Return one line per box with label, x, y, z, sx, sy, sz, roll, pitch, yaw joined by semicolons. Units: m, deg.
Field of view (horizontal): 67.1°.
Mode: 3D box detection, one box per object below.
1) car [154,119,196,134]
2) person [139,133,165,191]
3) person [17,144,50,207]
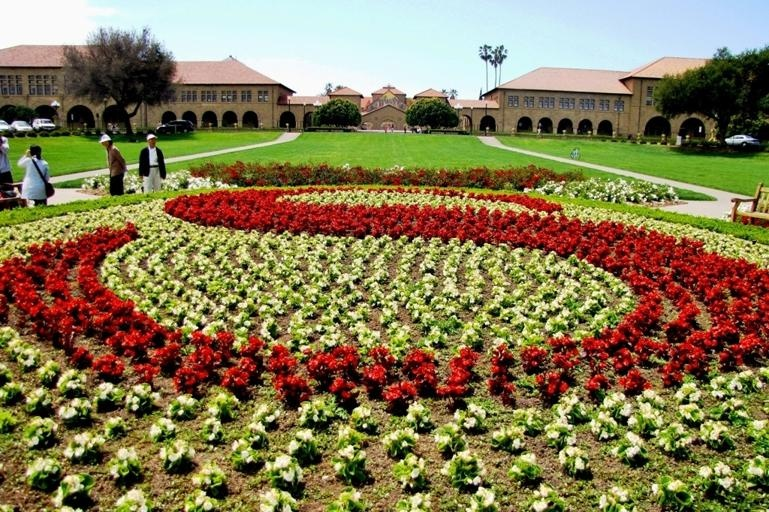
car;-20.524;-12.772;57.115;3.275;0.957;5.953;-2;17;-15
person;-6.000;-2.452;15.007;0.585;1.438;1.955;-5;17;-21
person;-7.871;-1.759;13.029;0.588;1.461;1.658;-8;19;-31
